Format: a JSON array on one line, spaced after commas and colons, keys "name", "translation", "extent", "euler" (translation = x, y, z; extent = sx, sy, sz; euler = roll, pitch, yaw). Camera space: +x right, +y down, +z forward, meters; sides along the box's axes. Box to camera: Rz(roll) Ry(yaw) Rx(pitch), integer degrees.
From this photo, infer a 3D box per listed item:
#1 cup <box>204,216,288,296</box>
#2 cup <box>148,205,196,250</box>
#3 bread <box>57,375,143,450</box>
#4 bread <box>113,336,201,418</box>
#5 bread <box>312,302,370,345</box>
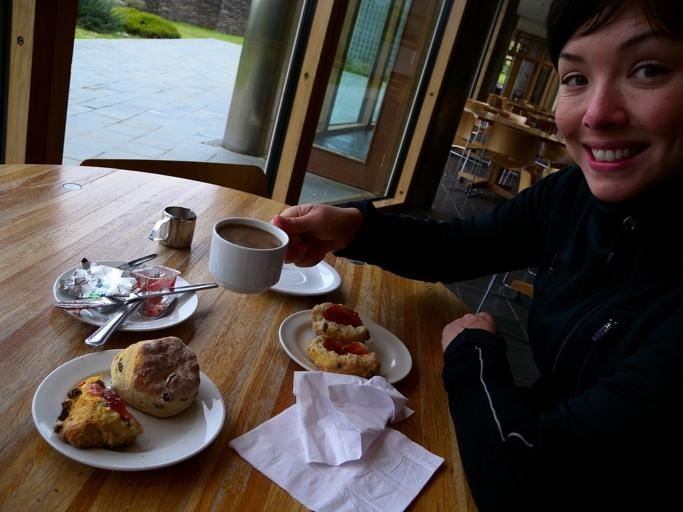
[{"name": "cup", "translation": [-0.178, 0.007, 0.989], "extent": [0.120, 0.097, 0.120], "euler": [20, 21, -8]}, {"name": "cup", "translation": [-0.456, -0.071, 1.285], "extent": [0.080, 0.102, 0.136], "euler": [27, 26, 21]}, {"name": "bread", "translation": [-0.410, 0.252, 0.784], "extent": [0.162, 0.055, 0.106], "euler": [22, 22, 39]}, {"name": "bread", "translation": [-0.333, 0.207, 0.861], "extent": [0.156, 0.051, 0.160], "euler": [-3, 37, -45]}, {"name": "bread", "translation": [-0.010, 0.163, 1.161], "extent": [0.138, 0.051, 0.159], "euler": [9, 16, -23]}]
